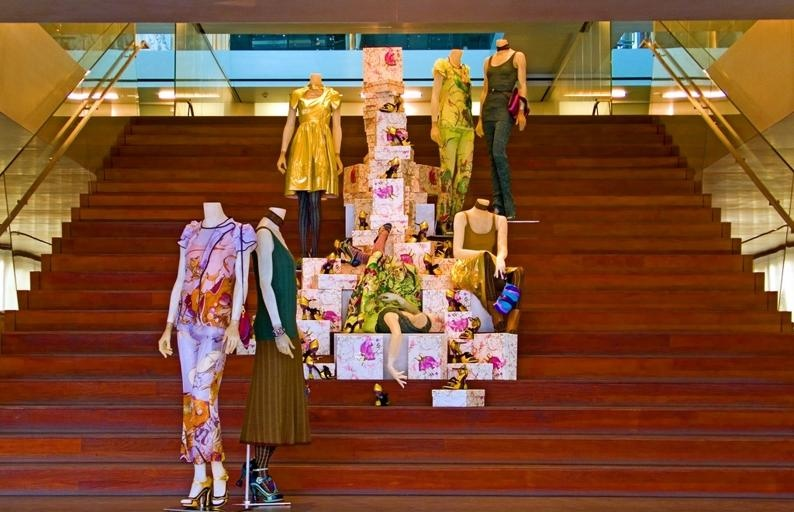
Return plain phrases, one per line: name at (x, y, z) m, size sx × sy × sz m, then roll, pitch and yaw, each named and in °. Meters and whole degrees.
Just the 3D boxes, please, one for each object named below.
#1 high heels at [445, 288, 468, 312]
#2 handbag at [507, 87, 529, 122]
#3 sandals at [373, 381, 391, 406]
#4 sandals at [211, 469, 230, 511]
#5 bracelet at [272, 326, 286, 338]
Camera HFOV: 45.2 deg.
high heels at (0.599, 0.467, 9.632) m, size 0.221 × 0.145 × 0.211 m, roll -1°, pitch 57°, yaw 2°
handbag at (1.375, -1.747, 10.885) m, size 0.291 × 0.107 × 0.289 m, roll -14°, pitch 88°, yaw 22°
sandals at (-0.164, 1.311, 9.039) m, size 0.142 × 0.124 × 0.196 m, roll -24°, pitch 69°, yaw 27°
sandals at (-1.505, 1.937, 7.965) m, size 0.109 × 0.128 × 0.305 m, roll -1°, pitch 83°, yaw 2°
bracelet at (-1.005, 0.629, 7.947) m, size 0.102 × 0.113 × 0.066 m, roll 0°, pitch 90°, yaw -3°
